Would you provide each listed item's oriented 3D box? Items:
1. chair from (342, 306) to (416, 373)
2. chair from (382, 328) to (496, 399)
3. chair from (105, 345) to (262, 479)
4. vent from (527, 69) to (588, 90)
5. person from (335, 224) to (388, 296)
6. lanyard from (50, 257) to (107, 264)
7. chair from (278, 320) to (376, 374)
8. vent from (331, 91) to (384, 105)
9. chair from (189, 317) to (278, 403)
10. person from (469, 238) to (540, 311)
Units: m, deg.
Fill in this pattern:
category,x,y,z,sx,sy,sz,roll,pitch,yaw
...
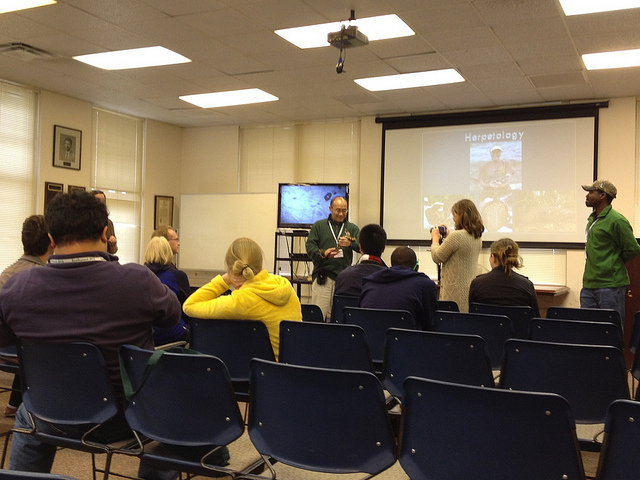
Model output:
category,x,y,z,sx,sy,sz,roll,pitch,yaw
chair,0.385,0.575,3.352,0.404,0.664,0.426,0,-3,24
chair,0.591,0.610,2.618,0.476,0.376,0.389,1,1,23
chair,-0.575,0.841,2.289,0.639,0.781,0.432,3,4,16
vent,3.282,-2.201,6.896,0.669,0.085,0.723,5,6,33
person,0.367,0.180,4.712,0.391,0.745,0.371,8,26,1
lanyard,-1.079,0.090,2.217,0.225,0.032,0.050,1,4,-5
chair,0.033,0.602,2.861,0.411,0.322,0.330,2,8,14
vent,0.605,-2.260,7.980,0.661,0.066,0.517,5,6,35
chair,-0.448,0.660,3.101,0.426,0.712,0.463,1,-2,17
person,1.573,0.473,4.290,0.544,0.978,0.440,3,7,27
